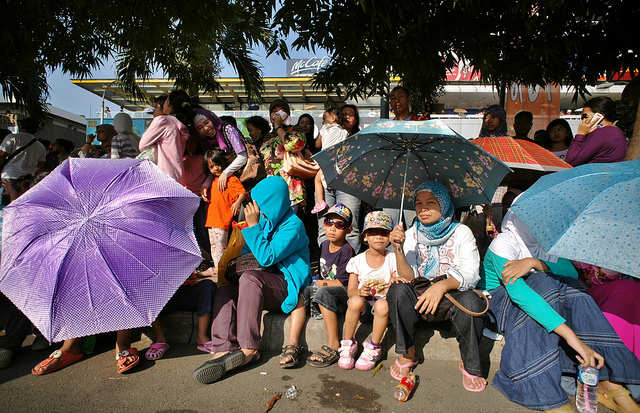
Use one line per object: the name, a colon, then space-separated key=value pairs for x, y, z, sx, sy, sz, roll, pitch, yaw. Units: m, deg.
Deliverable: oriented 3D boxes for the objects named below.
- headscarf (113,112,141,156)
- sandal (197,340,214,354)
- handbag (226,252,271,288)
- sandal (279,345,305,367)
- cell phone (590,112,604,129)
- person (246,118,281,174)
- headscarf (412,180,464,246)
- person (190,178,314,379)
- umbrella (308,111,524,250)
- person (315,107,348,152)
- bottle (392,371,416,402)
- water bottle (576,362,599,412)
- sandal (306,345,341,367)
headscarf: x=-2.786 y=-1.056 z=6.770 sx=0.275 sy=0.575 sz=0.500 roll=-11 pitch=19 yaw=-22
sandal: x=-1.224 y=1.531 z=5.170 sx=0.247 sy=0.106 sz=0.094 roll=6 pitch=-1 yaw=32
handbag: x=-0.759 y=0.686 z=5.426 sx=0.527 sy=0.302 sz=0.749 roll=-12 pitch=-5 yaw=13
sandal: x=-0.311 y=1.550 z=4.912 sx=0.230 sy=0.176 sz=0.186 roll=-6 pitch=18 yaw=-7
cell phone: x=3.583 y=-1.111 z=6.094 sx=0.041 sy=0.174 sz=0.097 roll=9 pitch=28 yaw=-30
person: x=-0.839 y=-0.883 z=7.008 sx=0.289 sy=0.277 sz=0.890 roll=10 pitch=19 yaw=-24
headscarf: x=1.228 y=0.061 z=5.111 sx=0.427 sy=0.688 sz=0.516 roll=-9 pitch=10 yaw=-44
person: x=-0.700 y=0.698 z=5.046 sx=1.436 sy=1.801 sz=0.673 roll=-19 pitch=23 yaw=-40
umbrella: x=1.234 y=-0.400 z=5.857 sx=2.137 sy=2.175 sz=1.586 roll=8 pitch=46 yaw=17
person: x=0.162 y=-1.105 z=7.124 sx=0.476 sy=0.779 sz=0.302 roll=0 pitch=-26 yaw=-6
bottle: x=0.808 y=1.722 z=4.553 sx=0.169 sy=0.107 sz=0.348 roll=5 pitch=20 yaw=25
water bottle: x=2.459 y=1.642 z=4.321 sx=0.184 sy=0.408 sz=0.274 roll=7 pitch=20 yaw=29
sandal: x=0.037 y=1.538 z=4.885 sx=0.321 sy=0.136 sz=0.159 roll=0 pitch=0 yaw=-24
